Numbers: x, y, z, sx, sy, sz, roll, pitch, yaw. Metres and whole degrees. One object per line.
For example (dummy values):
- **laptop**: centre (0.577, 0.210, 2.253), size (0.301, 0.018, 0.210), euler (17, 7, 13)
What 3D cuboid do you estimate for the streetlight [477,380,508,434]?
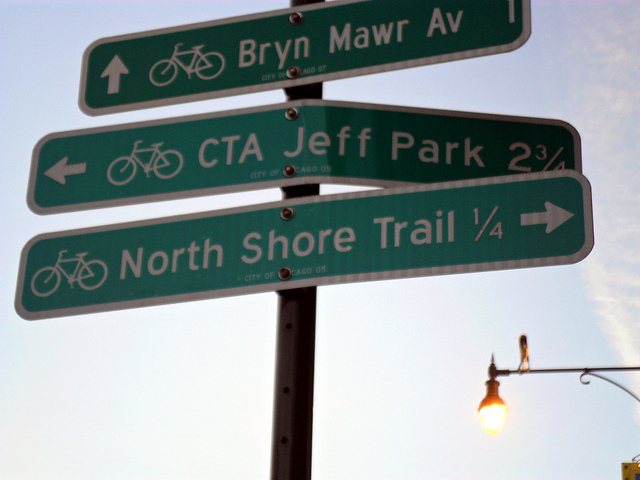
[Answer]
- **streetlight**: centre (1.918, 1.880, 12.807), size (0.297, 0.740, 0.303), euler (-16, -29, 39)
